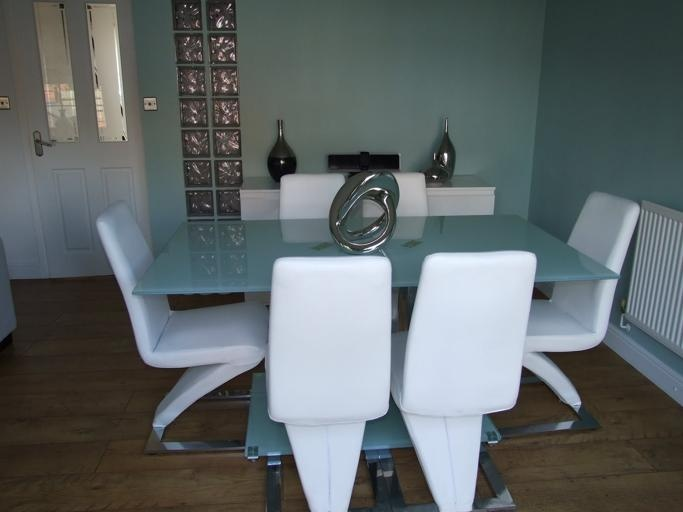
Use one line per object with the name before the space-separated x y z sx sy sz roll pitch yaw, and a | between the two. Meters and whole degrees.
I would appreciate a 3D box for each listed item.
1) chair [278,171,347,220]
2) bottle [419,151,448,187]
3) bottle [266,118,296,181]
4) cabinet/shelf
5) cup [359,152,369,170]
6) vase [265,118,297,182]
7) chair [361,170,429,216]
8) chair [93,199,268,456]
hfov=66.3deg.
chair | -0.191 -0.375 3.278 0.408 0.257 0.139 -2 24 -7
bottle | 0.690 -0.681 4.108 0.280 0.283 0.210 2 11 10
bottle | -0.473 -0.821 4.079 0.243 0.444 0.249 1 20 0
cabinet/shelf | 0.616 -0.211 3.954 1.351 0.666 0.404 -29 41 -33
cup | 0.183 -0.771 4.202 0.084 0.133 0.181 2 24 1
vase | -0.482 -0.818 4.096 0.242 0.465 0.238 -9 15 -31
chair | 0.326 -0.378 3.329 0.315 0.468 0.333 1 14 3
chair | -0.715 0.319 2.527 0.702 1.094 0.608 -3 24 -9
